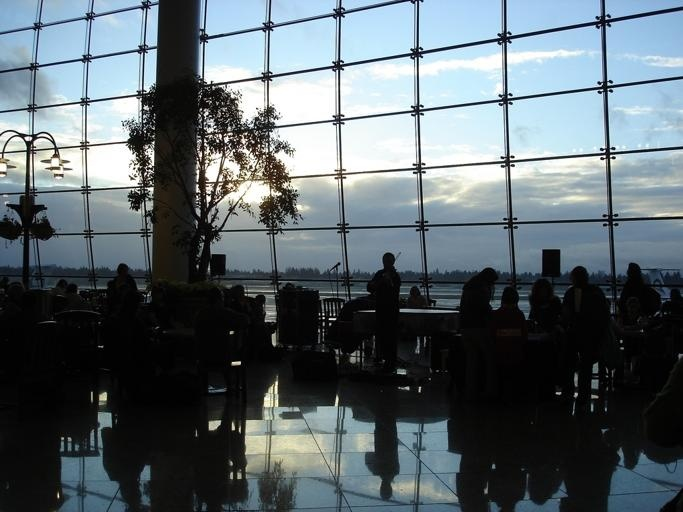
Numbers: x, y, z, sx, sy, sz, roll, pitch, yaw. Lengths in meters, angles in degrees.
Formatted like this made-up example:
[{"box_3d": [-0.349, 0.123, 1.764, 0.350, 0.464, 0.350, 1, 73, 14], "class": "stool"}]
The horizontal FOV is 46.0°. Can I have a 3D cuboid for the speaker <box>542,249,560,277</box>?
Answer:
[{"box_3d": [3.793, 0.128, 14.498, 0.448, 0.653, 0.350, -1, -6, 11], "class": "speaker"}]

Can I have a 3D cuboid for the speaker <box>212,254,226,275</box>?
[{"box_3d": [-2.609, 0.172, 17.490, 0.392, 0.561, 0.398, -1, 3, -5], "class": "speaker"}]
